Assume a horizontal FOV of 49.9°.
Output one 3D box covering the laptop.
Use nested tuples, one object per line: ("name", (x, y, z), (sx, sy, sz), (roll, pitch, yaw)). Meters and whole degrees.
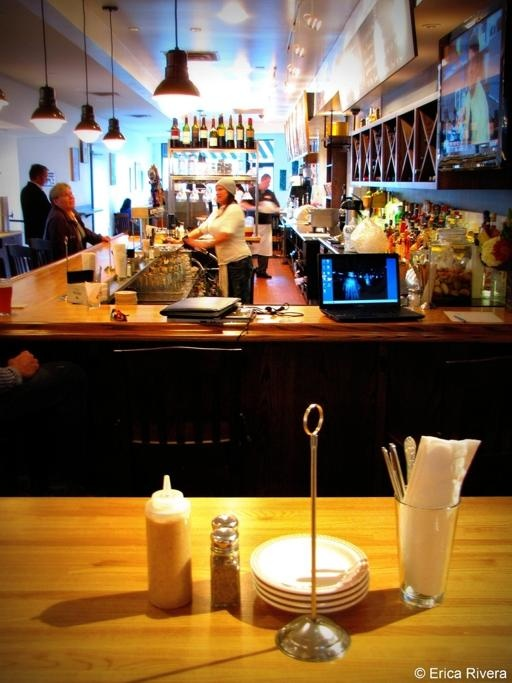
("laptop", (0.516, -0.262, 2.577), (0.436, 0.290, 0.361), (-2, 12, -5))

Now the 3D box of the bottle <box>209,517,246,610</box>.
("bottle", (-0.045, 0.323, 0.805), (0.044, 0.135, 0.052), (-1, 8, -3))

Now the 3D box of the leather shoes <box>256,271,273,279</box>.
("leather shoes", (0.143, -1.274, 10.574), (0.343, 0.154, 0.117), (-3, 18, -17))

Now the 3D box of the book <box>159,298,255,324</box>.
("book", (-0.231, -0.158, 2.690), (0.452, 0.103, 0.399), (-1, 8, -1))

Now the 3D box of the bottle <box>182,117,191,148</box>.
("bottle", (-1.043, -3.093, 8.244), (0.133, 0.381, 0.353), (-2, 8, -7))

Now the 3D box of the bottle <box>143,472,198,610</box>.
("bottle", (-0.130, 0.281, 0.795), (0.068, 0.213, 0.082), (-2, 8, -6))

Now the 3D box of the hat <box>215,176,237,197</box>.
("hat", (-0.306, -1.649, 5.687), (0.195, 0.180, 0.212), (11, -9, 3))

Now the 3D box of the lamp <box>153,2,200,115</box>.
("lamp", (-0.592, -1.928, 4.029), (0.318, 0.511, 0.353), (-2, 8, -10))

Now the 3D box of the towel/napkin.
("towel/napkin", (0.254, 0.259, 0.781), (0.106, 0.265, 0.064), (2, 9, 21))

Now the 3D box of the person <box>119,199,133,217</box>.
("person", (-4.271, -4.381, 17.853), (0.356, 0.663, 1.799), (-3, 9, -14))

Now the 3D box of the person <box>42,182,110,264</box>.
("person", (-2.368, -1.287, 7.201), (0.732, 1.442, 0.722), (5, 29, -1))

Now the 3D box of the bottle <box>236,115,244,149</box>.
("bottle", (-0.246, -3.154, 8.449), (0.119, 0.437, 0.304), (-1, 8, -2))

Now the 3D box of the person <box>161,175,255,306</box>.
("person", (-0.399, -0.793, 6.016), (0.680, 1.871, 0.657), (7, 17, 36))
